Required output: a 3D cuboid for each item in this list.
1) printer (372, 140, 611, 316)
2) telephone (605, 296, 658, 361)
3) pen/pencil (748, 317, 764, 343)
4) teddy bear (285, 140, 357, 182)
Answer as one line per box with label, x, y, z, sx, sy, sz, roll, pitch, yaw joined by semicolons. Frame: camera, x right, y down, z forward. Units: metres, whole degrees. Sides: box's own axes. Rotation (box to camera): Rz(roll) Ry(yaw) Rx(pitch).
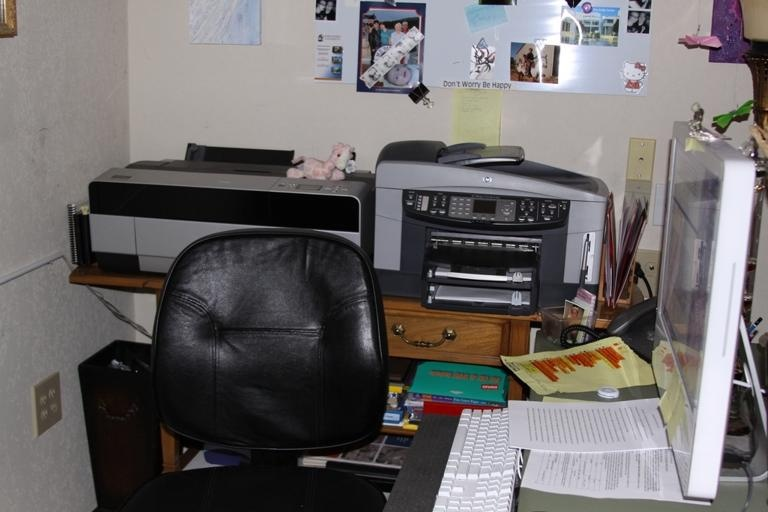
printer;0.342;-0.116;2.114;0.732;0.493;0.509;5;18;11
telephone;0.707;0.206;1.760;0.127;0.054;0.166;22;33;39
pen/pencil;0.921;0.183;1.529;0.020;0.066;0.024;25;21;11
teddy bear;-0.216;-0.333;2.205;0.210;0.089;0.146;-19;34;-27
